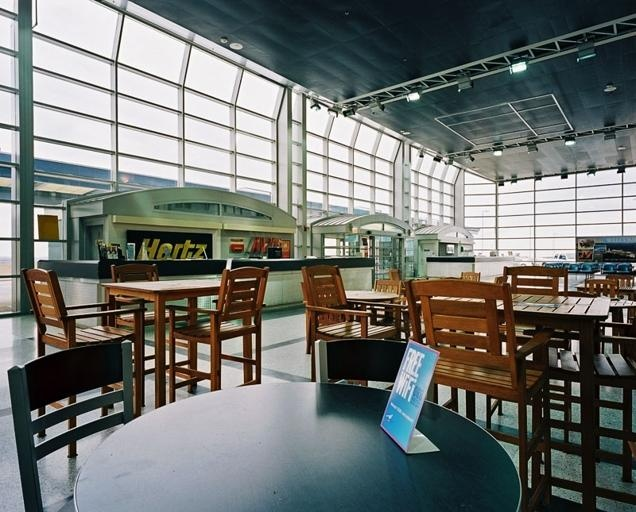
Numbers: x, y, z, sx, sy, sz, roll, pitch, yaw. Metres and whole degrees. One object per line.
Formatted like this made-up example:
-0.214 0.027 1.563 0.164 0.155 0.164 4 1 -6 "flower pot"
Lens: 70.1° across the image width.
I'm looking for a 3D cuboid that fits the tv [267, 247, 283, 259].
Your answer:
-0.937 -0.075 9.705 0.231 0.285 0.422 0 1 13 "tv"
